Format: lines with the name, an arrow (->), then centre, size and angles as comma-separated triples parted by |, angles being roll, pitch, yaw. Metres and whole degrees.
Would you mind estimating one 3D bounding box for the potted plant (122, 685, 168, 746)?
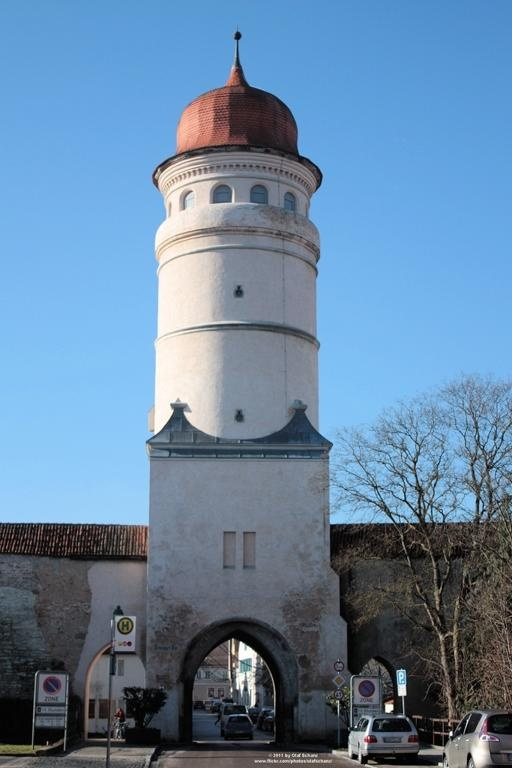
potted plant -> -3.136, 9.079, 33.418 | 1.348, 1.773, 1.377 | 1, -22, -6
